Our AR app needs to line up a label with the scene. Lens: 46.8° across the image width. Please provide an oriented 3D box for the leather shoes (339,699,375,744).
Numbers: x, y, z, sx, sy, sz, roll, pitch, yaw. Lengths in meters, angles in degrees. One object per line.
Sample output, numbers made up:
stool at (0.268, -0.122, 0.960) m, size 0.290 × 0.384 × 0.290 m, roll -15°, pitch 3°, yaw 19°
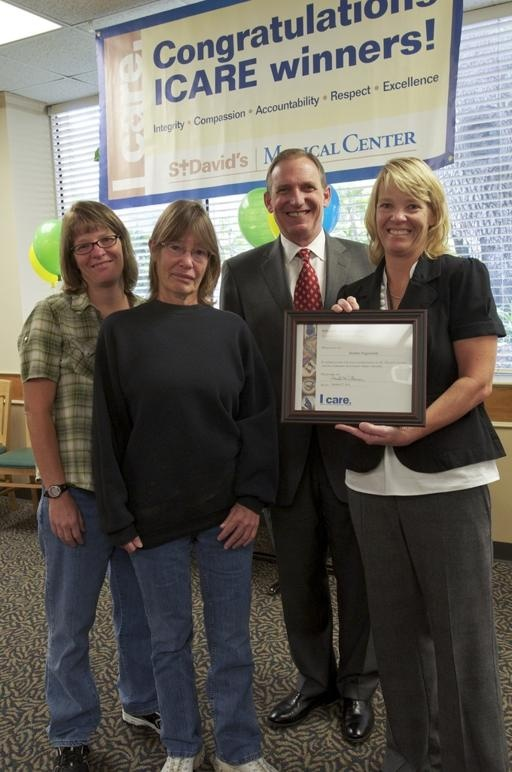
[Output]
leather shoes at (0.307, 1.025, 1.804) m, size 0.055 × 0.060 × 0.152 m, roll -3°, pitch -5°, yaw 8°

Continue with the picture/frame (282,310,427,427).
picture/frame at (0.230, -0.036, 1.317) m, size 0.265 × 0.223 × 0.021 m, roll 1°, pitch -2°, yaw 21°

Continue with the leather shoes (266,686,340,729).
leather shoes at (0.154, 1.024, 1.946) m, size 0.245 × 0.103 × 0.081 m, roll -5°, pitch 5°, yaw -38°

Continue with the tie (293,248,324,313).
tie at (0.155, -0.324, 1.778) m, size 0.087 × 0.173 × 0.164 m, roll -1°, pitch 16°, yaw 5°

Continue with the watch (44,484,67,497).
watch at (-0.526, 0.276, 1.554) m, size 0.053 × 0.033 × 0.048 m, roll -5°, pitch -12°, yaw -30°
